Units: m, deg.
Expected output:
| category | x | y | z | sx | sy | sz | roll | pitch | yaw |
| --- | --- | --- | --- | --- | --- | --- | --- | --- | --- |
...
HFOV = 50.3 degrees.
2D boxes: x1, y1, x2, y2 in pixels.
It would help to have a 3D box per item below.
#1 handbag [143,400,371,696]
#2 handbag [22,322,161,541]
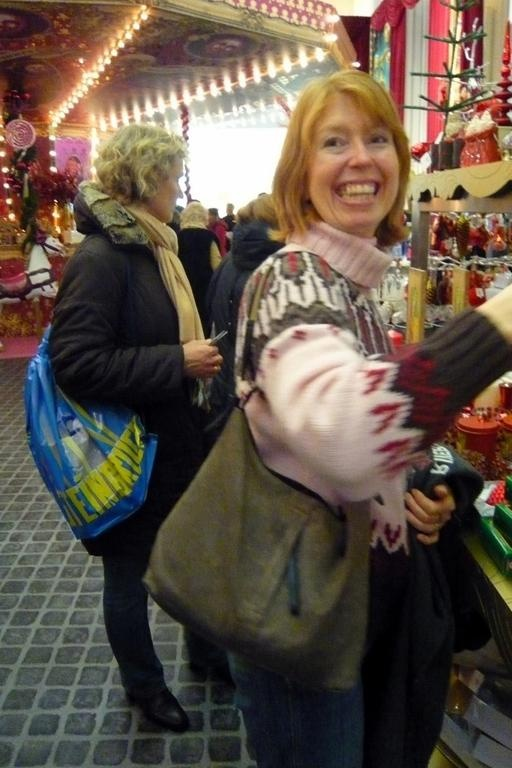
| category | x | y | z | sx | sy | sz | roll | pitch | yaw |
| --- | --- | --- | --- | --- | --- | --- | --- | --- | --- |
| handbag | -0.002 | 0.193 | 0.699 | 0.301 | 0.306 | 0.150 | 5 | 12 | 24 |
| handbag | -0.514 | 0.167 | 1.610 | 0.377 | 0.536 | 0.208 | 3 | 11 | 16 |
